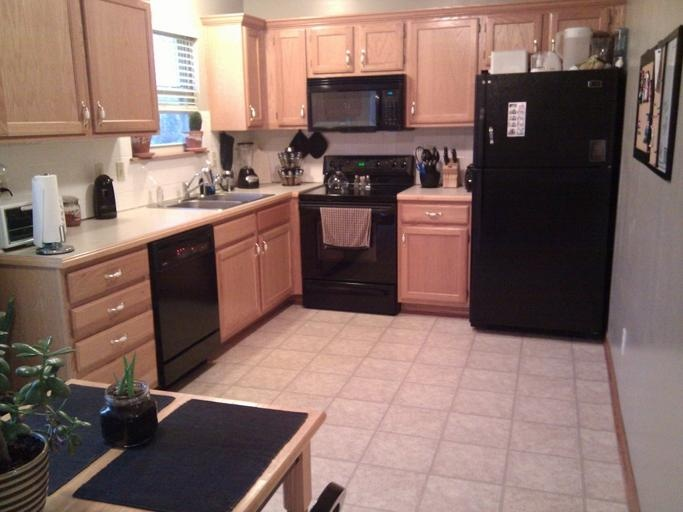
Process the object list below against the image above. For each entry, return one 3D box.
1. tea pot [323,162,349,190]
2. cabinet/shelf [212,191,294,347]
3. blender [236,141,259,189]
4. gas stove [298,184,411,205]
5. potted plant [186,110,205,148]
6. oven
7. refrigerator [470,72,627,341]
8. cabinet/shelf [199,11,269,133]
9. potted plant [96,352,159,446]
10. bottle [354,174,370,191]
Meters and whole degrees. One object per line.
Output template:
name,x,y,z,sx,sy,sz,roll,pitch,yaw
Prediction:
tea pot,-0.038,-0.757,4.843,0.203,0.303,0.295,0,29,-1
cabinet/shelf,-0.705,0.100,3.998,0.386,0.855,1.024,5,18,21
blender,-0.906,-0.879,4.859,0.196,0.410,0.458,-6,16,-11
gas stove,0.118,-0.560,4.581,0.886,0.112,0.512,1,16,16
potted plant,-1.260,-1.084,4.364,0.188,0.312,0.187,-12,18,-31
oven,0.149,-0.066,4.830,1.026,0.995,0.986,7,13,32
refrigerator,1.483,-0.390,3.796,0.968,1.911,0.301,0,15,11
cabinet/shelf,-0.931,-1.639,4.554,0.609,0.958,0.326,-6,15,-11
potted plant,-0.559,0.385,1.337,0.122,0.211,0.113,4,4,23
bottle,0.200,-0.691,4.754,0.152,0.049,0.168,1,23,4
